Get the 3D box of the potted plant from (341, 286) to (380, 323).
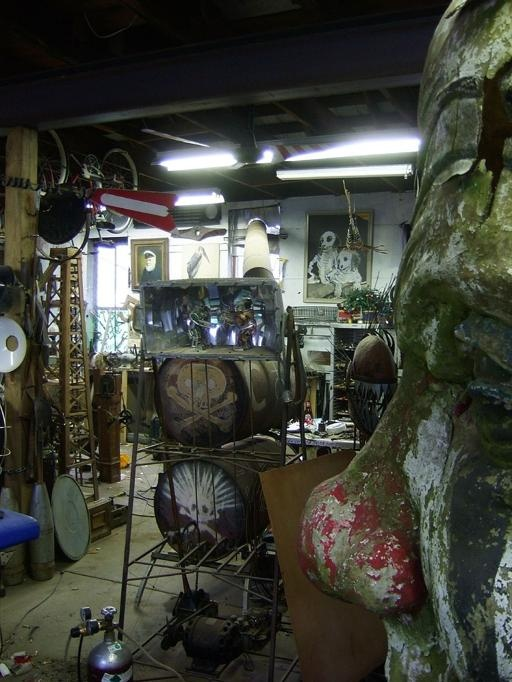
[{"bbox_3d":[1.398,-0.497,7.287,0.491,0.439,0.988,1,3,9],"label":"potted plant"}]
